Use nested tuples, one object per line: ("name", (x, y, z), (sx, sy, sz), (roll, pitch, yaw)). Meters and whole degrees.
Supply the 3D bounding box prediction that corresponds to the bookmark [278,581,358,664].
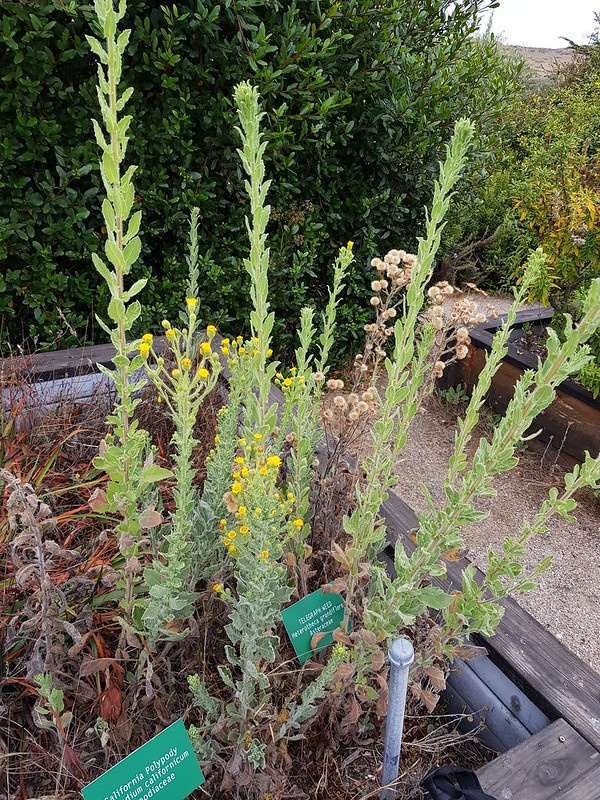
("bookmark", (0.028, 0.443, 1.228), (0.158, 0.135, 0.051), (-8, 30, -44))
